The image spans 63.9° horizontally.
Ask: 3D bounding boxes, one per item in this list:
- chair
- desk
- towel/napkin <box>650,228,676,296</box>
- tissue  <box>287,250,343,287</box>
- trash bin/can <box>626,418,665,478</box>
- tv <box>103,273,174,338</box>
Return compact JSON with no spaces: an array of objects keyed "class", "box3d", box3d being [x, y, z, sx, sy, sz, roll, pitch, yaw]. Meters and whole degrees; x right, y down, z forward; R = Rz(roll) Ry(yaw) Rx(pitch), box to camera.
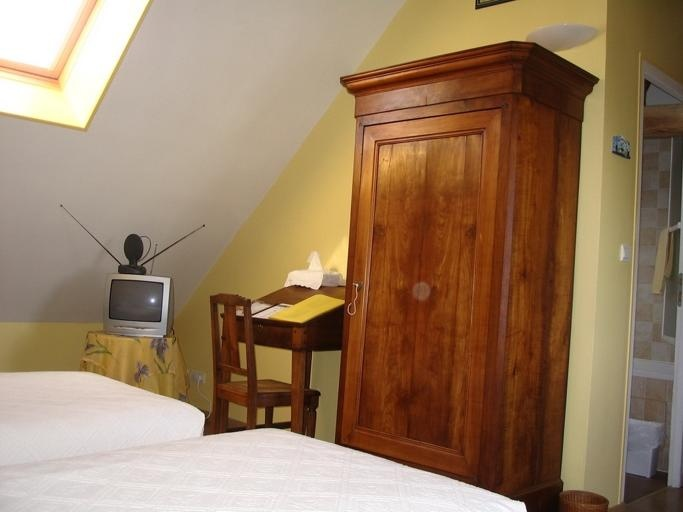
[{"class":"chair","box3d":[-0.498,0.777,3.547,0.579,1.064,0.594,-1,-3,37]},{"class":"desk","box3d":[-0.263,0.809,3.630,0.505,0.906,0.716,3,-8,-29]},{"class":"towel/napkin","box3d":[2.347,0.029,3.997,0.087,0.414,0.291,8,-1,13]},{"class":"tissue ","box3d":[-0.201,0.104,3.873,0.277,0.208,0.286,-1,-2,38]},{"class":"trash bin/can","box3d":[2.129,1.351,3.875,0.259,0.348,0.230,1,-6,44]},{"class":"tv","box3d":[-1.492,0.365,4.307,0.625,0.651,0.409,0,-8,1]}]
